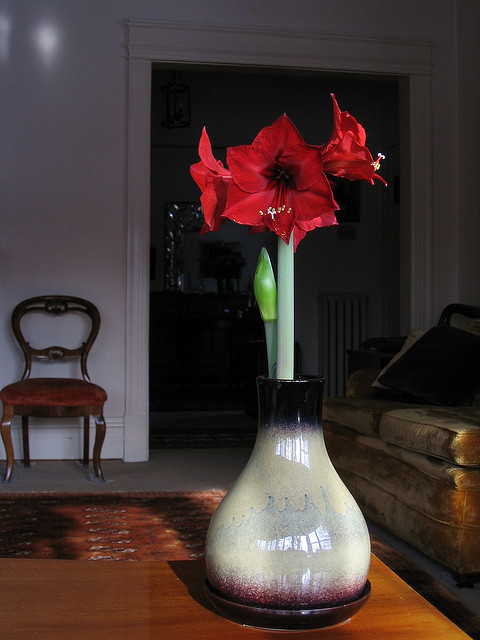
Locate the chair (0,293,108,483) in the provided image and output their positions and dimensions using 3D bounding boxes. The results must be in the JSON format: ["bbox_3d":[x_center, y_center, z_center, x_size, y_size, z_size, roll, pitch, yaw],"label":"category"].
[{"bbox_3d":[-0.914,0.292,3.135,0.512,0.966,0.683,1,-14,-10],"label":"chair"}]

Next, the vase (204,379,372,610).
[{"bbox_3d":[0.054,0.192,0.699,0.191,0.234,0.175,-1,-5,14],"label":"vase"}]

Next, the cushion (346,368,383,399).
[{"bbox_3d":[0.520,0.267,2.733,0.116,0.097,0.144,-1,7,19],"label":"cushion"}]
